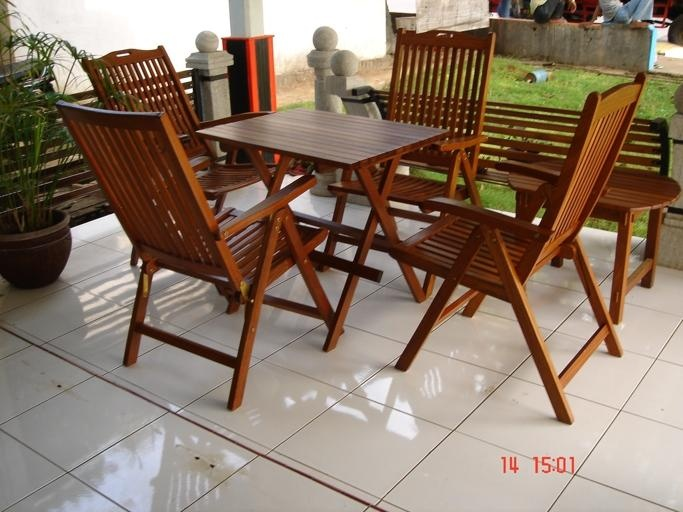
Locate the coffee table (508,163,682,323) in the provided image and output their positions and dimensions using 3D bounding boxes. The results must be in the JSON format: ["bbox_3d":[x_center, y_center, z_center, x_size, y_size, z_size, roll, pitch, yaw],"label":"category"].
[{"bbox_3d":[1.495,-0.300,2.965,0.998,0.734,1.058,16,33,34],"label":"coffee table"}]
